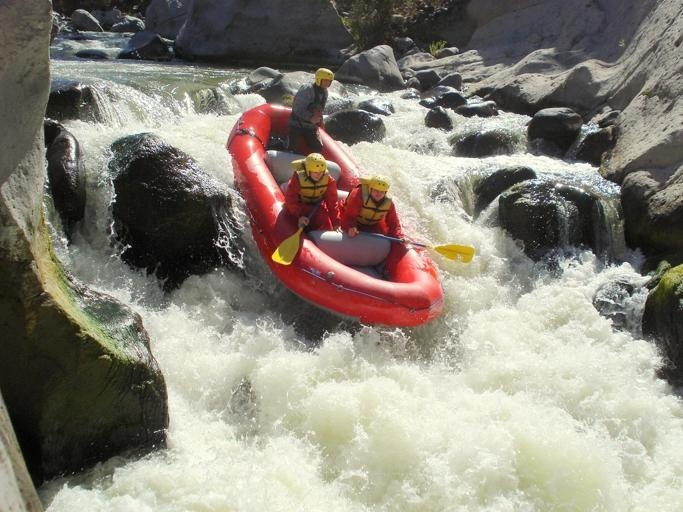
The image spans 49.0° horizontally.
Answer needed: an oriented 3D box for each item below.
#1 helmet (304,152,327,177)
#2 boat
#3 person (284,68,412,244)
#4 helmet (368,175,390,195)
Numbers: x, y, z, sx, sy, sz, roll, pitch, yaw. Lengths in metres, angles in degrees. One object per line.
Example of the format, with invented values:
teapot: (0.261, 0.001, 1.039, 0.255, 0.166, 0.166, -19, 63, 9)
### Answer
helmet: (-0.319, -1.089, 8.900, 0.190, 0.221, 0.271, -4, 19, -11)
boat: (-0.452, -0.500, 9.130, 1.704, 0.800, 3.607, -1, 47, -43)
person: (-0.042, -1.308, 9.851, 1.145, 0.619, 2.710, 3, 51, -27)
helmet: (0.439, -0.835, 8.942, 0.255, 0.211, 0.176, 19, 40, 0)
